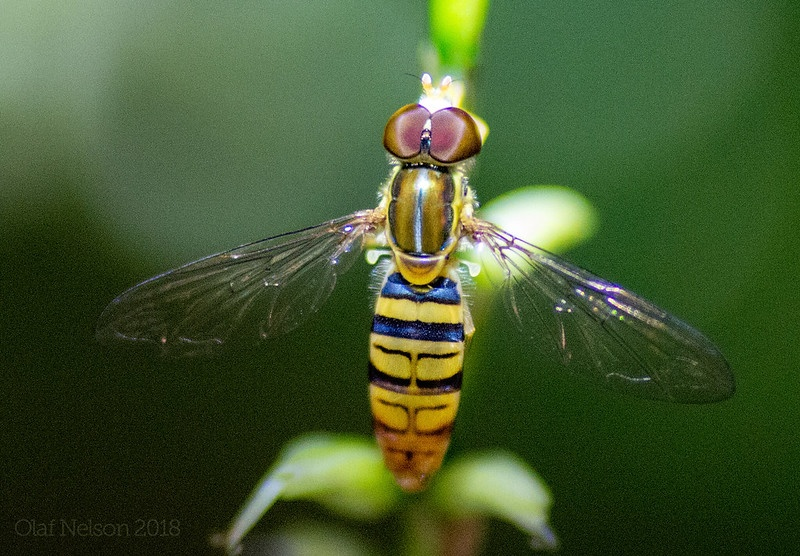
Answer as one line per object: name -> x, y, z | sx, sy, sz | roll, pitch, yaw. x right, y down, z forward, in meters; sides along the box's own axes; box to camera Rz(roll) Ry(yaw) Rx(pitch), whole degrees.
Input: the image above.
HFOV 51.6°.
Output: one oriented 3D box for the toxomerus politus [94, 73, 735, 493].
toxomerus politus -> 0.114, 0.074, 1.710 | 0.715, 0.958, 1.140 | -5, 8, -3
